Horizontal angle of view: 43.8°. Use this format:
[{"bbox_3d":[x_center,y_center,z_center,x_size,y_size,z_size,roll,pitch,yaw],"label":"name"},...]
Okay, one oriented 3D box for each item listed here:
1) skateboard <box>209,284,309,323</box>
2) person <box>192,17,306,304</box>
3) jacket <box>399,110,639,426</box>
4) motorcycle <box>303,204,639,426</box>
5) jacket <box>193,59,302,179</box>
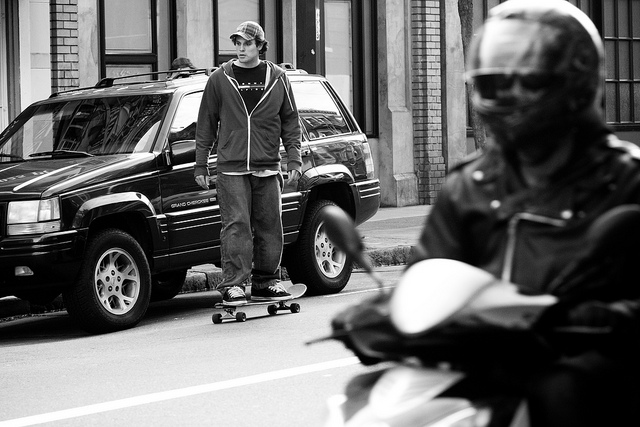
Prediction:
[{"bbox_3d":[-0.578,0.898,7.834,1.014,0.316,0.381,-4,4,-37],"label":"skateboard"},{"bbox_3d":[-0.690,-0.508,7.740,1.040,2.670,0.532,-3,3,-13],"label":"person"},{"bbox_3d":[0.571,0.070,2.371,0.325,0.878,0.851,18,2,12],"label":"jacket"},{"bbox_3d":[0.475,0.305,2.296,0.525,0.635,0.937,-10,-13,38],"label":"motorcycle"},{"bbox_3d":[-0.730,-0.879,7.779,1.207,1.393,0.641,0,-1,-13],"label":"jacket"}]
